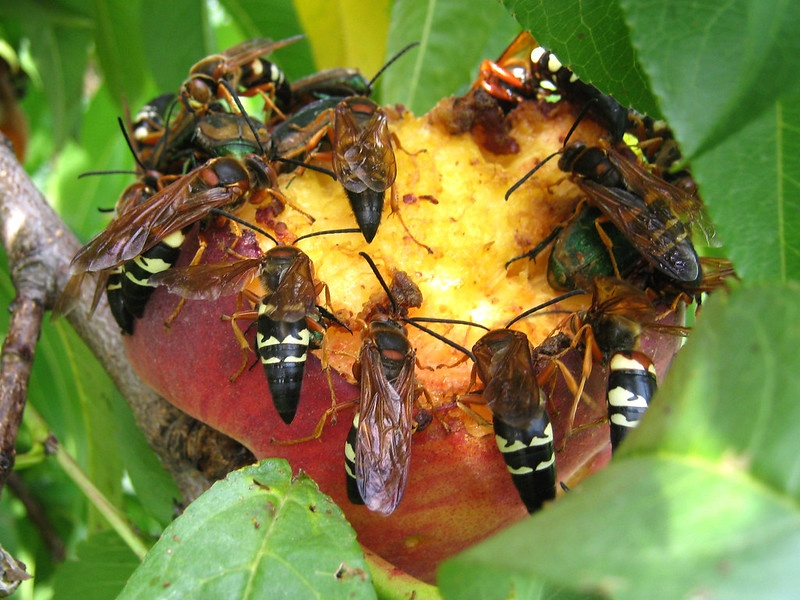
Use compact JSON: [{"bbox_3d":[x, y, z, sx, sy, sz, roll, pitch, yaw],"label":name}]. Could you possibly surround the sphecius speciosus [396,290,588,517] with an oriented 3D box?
[{"bbox_3d":[0.257,0.219,1.734,0.254,0.116,0.367,-8,60,-8],"label":"sphecius speciosus"}]
